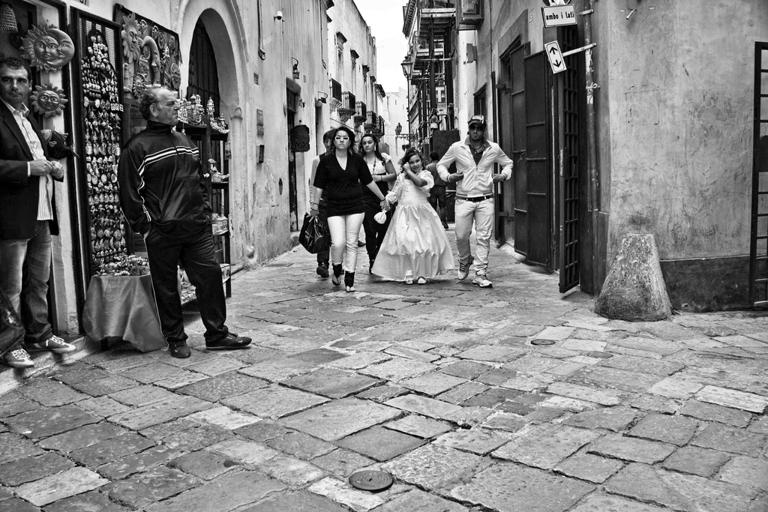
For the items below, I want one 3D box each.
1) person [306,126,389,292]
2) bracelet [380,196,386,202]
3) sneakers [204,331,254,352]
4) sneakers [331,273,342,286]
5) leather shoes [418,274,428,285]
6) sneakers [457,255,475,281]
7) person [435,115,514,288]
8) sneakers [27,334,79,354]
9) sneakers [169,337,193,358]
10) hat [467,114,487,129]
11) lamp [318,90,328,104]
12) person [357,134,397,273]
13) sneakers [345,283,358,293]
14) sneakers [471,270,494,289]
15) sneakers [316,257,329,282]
[{"bbox_3d":[-0.570,-0.671,7.945,0.665,2.167,0.706,3,9,27],"label":"person"},{"bbox_3d":[-0.018,-0.834,8.351,0.086,0.050,0.120,-13,0,1],"label":"bracelet"},{"bbox_3d":[-1.412,0.756,5.254,0.404,0.191,0.164,-1,2,-5],"label":"sneakers"},{"bbox_3d":[-0.685,0.330,8.298,0.140,0.178,0.404,0,-2,-7],"label":"sneakers"},{"bbox_3d":[0.548,0.319,8.206,0.101,0.131,0.283,-2,-4,7],"label":"leather shoes"},{"bbox_3d":[1.170,0.169,8.390,0.149,0.474,0.181,17,10,23],"label":"sneakers"},{"bbox_3d":[1.266,-0.782,8.044,0.985,2.302,0.871,1,8,14],"label":"person"},{"bbox_3d":[-2.781,0.721,4.823,0.343,0.148,0.139,2,4,-17],"label":"sneakers"},{"bbox_3d":[-1.792,0.805,5.060,0.143,0.121,0.234,-7,11,-37],"label":"sneakers"},{"bbox_3d":[1.329,-1.897,8.150,0.220,0.184,0.713,0,9,9],"label":"hat"},{"bbox_3d":[-1.974,-5.106,18.567,0.399,0.390,0.297,-25,37,-34],"label":"lamp"},{"bbox_3d":[-0.303,-0.995,9.097,0.609,2.038,0.688,8,22,-8],"label":"person"},{"bbox_3d":[-0.447,0.426,7.730,0.095,0.121,0.272,-1,-3,-6],"label":"sneakers"},{"bbox_3d":[1.363,0.319,7.917,0.131,0.166,0.374,-2,2,-13],"label":"sneakers"},{"bbox_3d":[-0.918,0.188,8.931,0.130,0.309,0.399,0,-6,3],"label":"sneakers"}]
